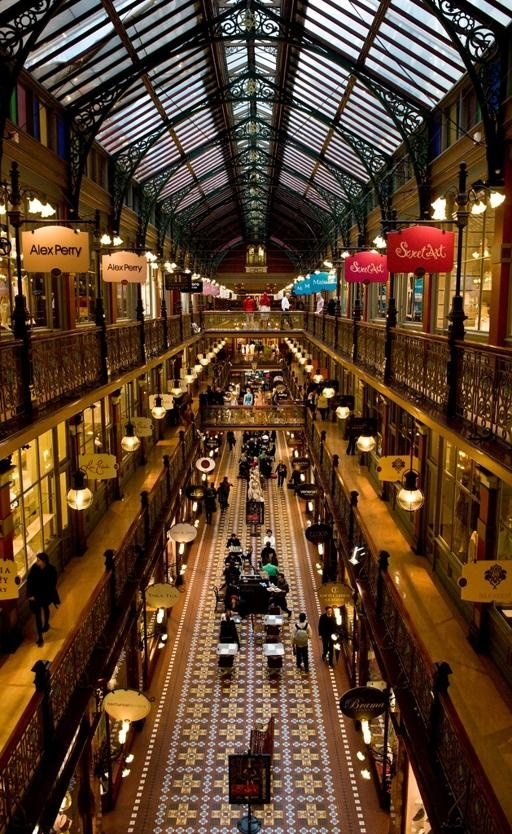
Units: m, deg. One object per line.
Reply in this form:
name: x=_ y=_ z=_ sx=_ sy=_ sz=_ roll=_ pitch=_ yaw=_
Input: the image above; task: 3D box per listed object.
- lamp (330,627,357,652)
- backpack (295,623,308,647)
lamp: x=1.932 y=4.906 z=12.230 sx=0.702 sy=0.338 sz=0.807 roll=10 pitch=-31 yaw=12
backpack: x=1.018 y=4.922 z=12.474 sx=0.328 sy=0.557 sz=0.334 roll=0 pitch=9 yaw=0
